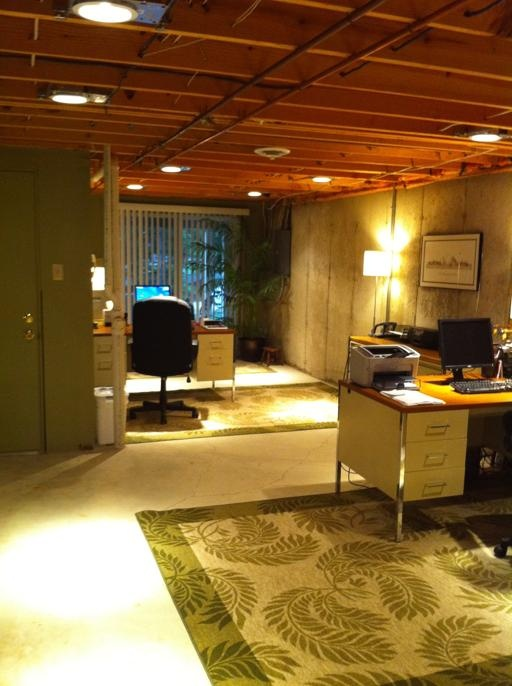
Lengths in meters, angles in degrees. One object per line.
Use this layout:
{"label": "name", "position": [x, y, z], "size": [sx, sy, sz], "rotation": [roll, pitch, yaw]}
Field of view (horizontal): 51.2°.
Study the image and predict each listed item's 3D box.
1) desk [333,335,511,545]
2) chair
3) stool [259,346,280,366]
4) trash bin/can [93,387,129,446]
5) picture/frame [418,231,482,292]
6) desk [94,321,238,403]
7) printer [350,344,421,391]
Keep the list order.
{"label": "desk", "position": [1.381, 0.633, 3.919], "size": [1.539, 1.365, 1.126], "rotation": [-1, 4, -19]}
{"label": "chair", "position": [-0.970, 0.194, 5.845], "size": [0.785, 1.371, 0.711], "rotation": [0, 6, -13]}
{"label": "stool", "position": [0.261, 0.239, 9.727], "size": [0.357, 0.344, 0.331], "rotation": [1, 11, -1]}
{"label": "trash bin/can", "position": [-1.412, 0.722, 5.126], "size": [0.460, 0.595, 0.441], "rotation": [1, 0, -12]}
{"label": "picture/frame", "position": [2.114, -0.880, 5.784], "size": [0.020, 0.514, 0.742], "rotation": [-2, 11, -22]}
{"label": "desk", "position": [-1.188, 0.260, 6.533], "size": [1.833, 0.870, 0.557], "rotation": [-3, 11, -24]}
{"label": "printer", "position": [0.855, 0.159, 3.656], "size": [0.359, 0.221, 0.343], "rotation": [-2, 6, -17]}
